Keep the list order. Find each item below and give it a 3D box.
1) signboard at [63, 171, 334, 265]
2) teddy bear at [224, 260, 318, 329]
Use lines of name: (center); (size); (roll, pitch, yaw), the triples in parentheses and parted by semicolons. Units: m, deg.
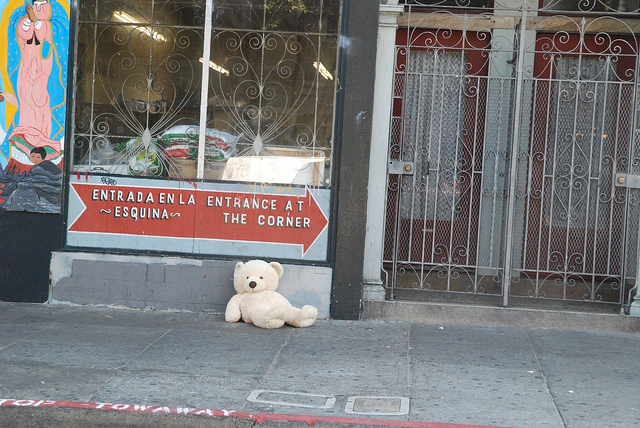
signboard: (-1.644, -0.027, 10.592); (3.810, 1.143, 0.055); (4, -11, 5)
teddy bear: (-0.651, 1.052, 10.150); (1.294, 0.811, 0.815); (3, -1, 42)
